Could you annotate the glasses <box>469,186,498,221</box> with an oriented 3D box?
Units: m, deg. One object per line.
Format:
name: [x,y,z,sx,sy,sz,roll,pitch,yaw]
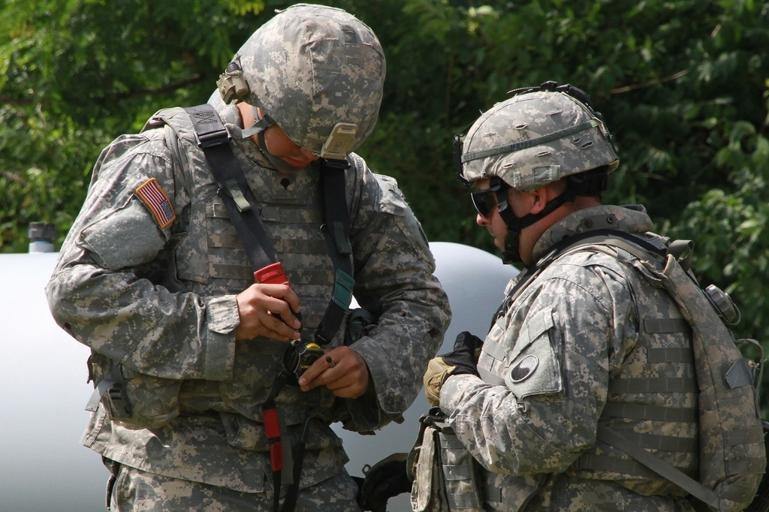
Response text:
glasses: [0.659,-0.352,10.108,0.073,0.183,0.176,-17,31,-9]
